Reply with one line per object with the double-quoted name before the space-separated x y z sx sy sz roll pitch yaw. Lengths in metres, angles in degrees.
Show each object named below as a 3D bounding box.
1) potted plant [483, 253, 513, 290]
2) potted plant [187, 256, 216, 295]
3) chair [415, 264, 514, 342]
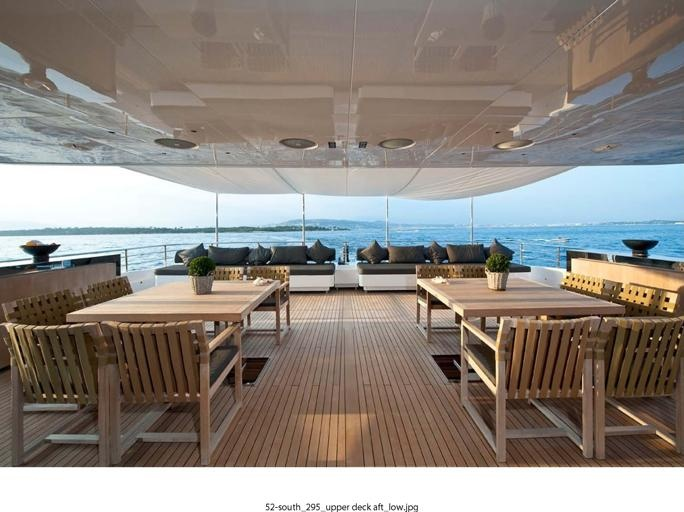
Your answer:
"potted plant" 1.533 0.148 4.112 0.269 0.303 0.266 -2 -4 44
"potted plant" -1.284 0.178 3.958 0.300 0.307 0.287 0 -4 -38
"chair" 1.501 0.626 5.179 1.287 1.007 0.842 0 -1 -7
